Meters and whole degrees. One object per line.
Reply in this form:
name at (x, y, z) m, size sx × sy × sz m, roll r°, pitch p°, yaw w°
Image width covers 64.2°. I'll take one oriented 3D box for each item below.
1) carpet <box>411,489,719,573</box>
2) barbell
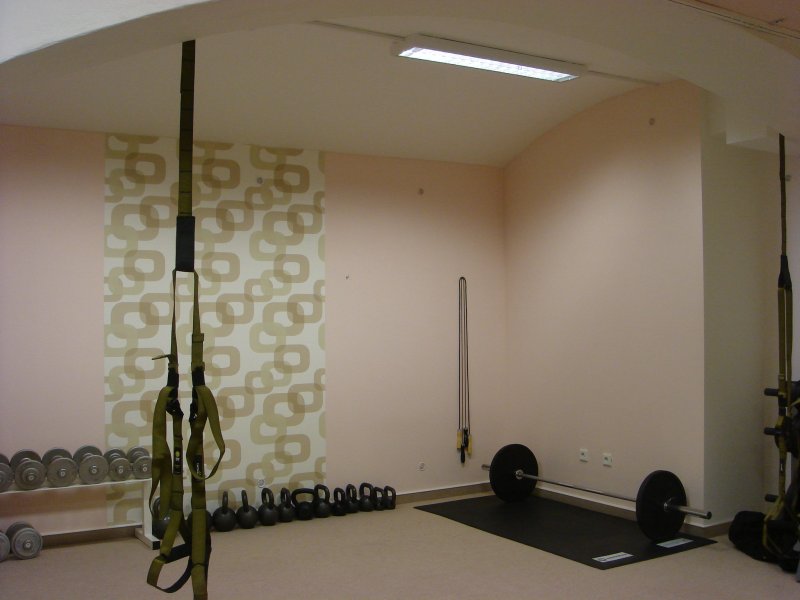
carpet at (1.263, 2.020, 5.848) m, size 1.502 × 0.028 × 2.720 m, roll 3°, pitch -8°, yaw -25°
barbell at (1.664, 1.660, 5.500) m, size 0.723 × 0.436 × 1.978 m, roll 0°, pitch -1°, yaw -37°
